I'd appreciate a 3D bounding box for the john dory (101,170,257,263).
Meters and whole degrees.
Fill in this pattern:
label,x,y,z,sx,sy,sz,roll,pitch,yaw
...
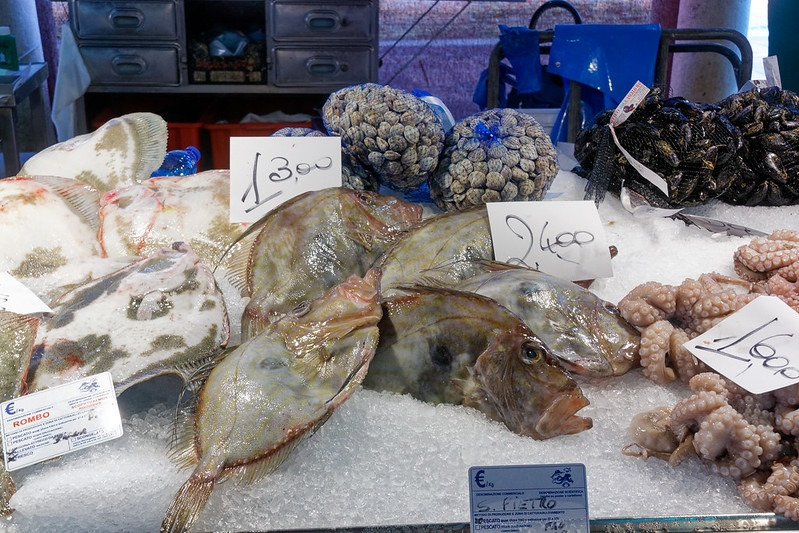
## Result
label,x,y,z,sx,sy,sz,roll,pitch,yaw
john dory,-0.608,-0.132,1.831,0.278,0.069,0.250,-28,47,-31

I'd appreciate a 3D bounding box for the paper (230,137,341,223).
label,x,y,z,sx,sy,sz,roll,pitch,yaw
paper,-0.303,-0.222,1.827,0.220,0.193,0.025,-3,2,-1

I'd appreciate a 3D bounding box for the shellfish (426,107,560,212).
label,x,y,z,sx,sy,sz,roll,pitch,yaw
shellfish,0.253,-0.296,1.901,0.304,0.131,0.290,-9,66,8

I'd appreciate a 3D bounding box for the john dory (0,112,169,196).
label,x,y,z,sx,sy,sz,roll,pitch,yaw
john dory,-0.886,-0.311,1.993,0.349,0.102,0.493,9,40,-8

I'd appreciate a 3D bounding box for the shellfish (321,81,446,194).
label,x,y,z,sx,sy,sz,roll,pitch,yaw
shellfish,-0.054,-0.374,1.946,0.300,0.148,0.254,34,75,3
